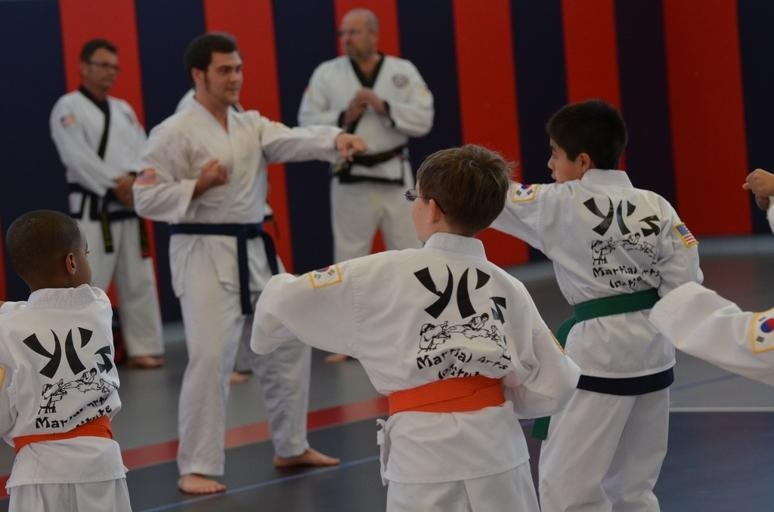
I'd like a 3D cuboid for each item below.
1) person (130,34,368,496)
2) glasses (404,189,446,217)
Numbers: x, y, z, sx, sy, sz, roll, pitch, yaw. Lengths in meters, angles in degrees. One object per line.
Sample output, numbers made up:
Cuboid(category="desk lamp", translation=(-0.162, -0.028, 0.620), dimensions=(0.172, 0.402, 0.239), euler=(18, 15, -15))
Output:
Cuboid(category="person", translation=(-0.706, 0.103, 4.632), dimensions=(0.979, 2.274, 0.893), euler=(-4, 13, -14))
Cuboid(category="glasses", translation=(0.146, -0.214, 3.603), dimensions=(0.126, 0.035, 0.122), euler=(16, -2, -3))
